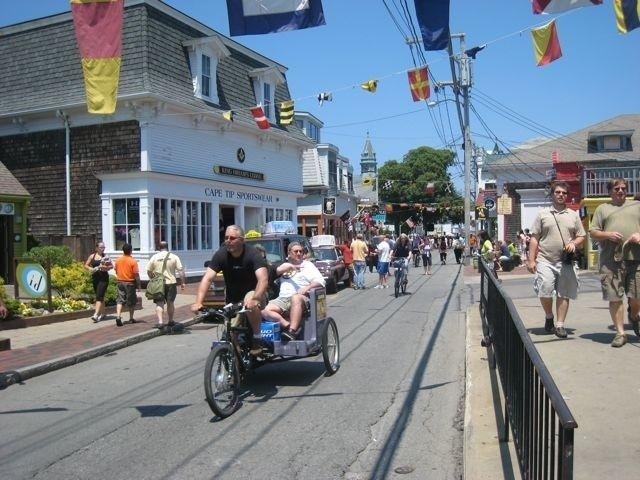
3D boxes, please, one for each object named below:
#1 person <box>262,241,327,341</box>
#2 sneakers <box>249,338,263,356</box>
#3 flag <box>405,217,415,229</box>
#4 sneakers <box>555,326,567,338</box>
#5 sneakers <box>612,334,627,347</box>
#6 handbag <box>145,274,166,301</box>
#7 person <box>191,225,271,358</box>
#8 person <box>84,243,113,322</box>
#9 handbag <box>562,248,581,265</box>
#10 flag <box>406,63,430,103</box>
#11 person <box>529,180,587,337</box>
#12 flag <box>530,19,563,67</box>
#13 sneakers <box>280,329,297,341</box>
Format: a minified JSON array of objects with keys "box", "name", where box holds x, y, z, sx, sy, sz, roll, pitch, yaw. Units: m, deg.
[{"box":[-0.416,0.767,9.501,0.790,1.492,0.999,-3,-5,22],"name":"person"},{"box":[-0.886,1.505,8.753,0.152,0.233,0.214,4,14,3],"name":"sneakers"},{"box":[9.190,-1.835,64.152,0.307,1.106,1.197,-25,-24,-20],"name":"flag"},{"box":[3.813,1.455,9.859,0.185,0.170,0.289,0,4,20],"name":"sneakers"},{"box":[4.366,1.473,9.137,0.158,0.169,0.311,2,5,41],"name":"sneakers"},{"box":[-3.539,1.041,13.478,0.412,0.541,0.412,-1,4,13],"name":"handbag"},{"box":[-1.188,0.712,8.706,1.074,1.834,1.163,-2,4,-16],"name":"person"},{"box":[-5.148,0.998,14.585,0.552,1.882,0.946,-3,4,-21],"name":"person"},{"box":[3.898,0.272,9.824,0.237,0.331,0.124,1,10,-1],"name":"handbag"},{"box":[3.002,-4.755,18.926,0.584,1.008,0.689,-1,4,6],"name":"flag"},{"box":[3.736,0.319,9.869,0.806,2.429,0.508,0,4,20],"name":"person"},{"box":[5.296,-4.657,14.626,0.617,1.106,0.752,0,4,21],"name":"flag"},{"box":[-0.466,1.409,9.102,0.248,0.097,0.112,16,52,41],"name":"sneakers"}]
